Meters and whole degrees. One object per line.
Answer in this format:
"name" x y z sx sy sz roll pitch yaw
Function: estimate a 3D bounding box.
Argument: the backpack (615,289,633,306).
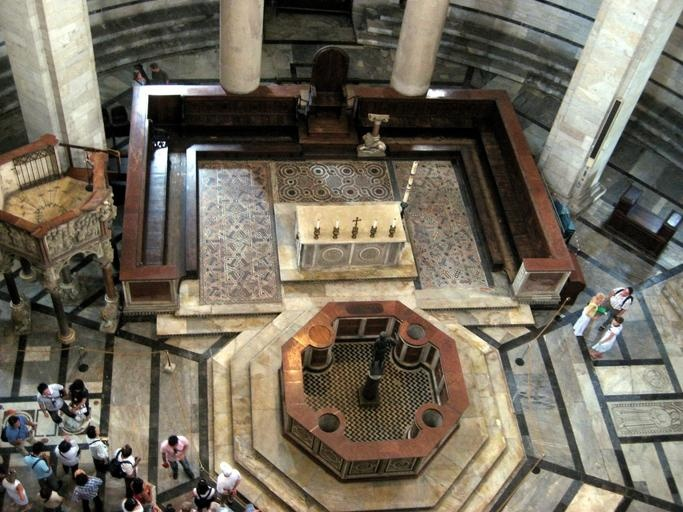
"backpack" 5.917 0.862 10.478 0.153 0.358 0.273 21 10 -46

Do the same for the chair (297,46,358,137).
"chair" -0.411 -4.118 12.771 1.336 1.942 1.440 1 46 -1

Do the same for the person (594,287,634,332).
"person" 5.720 1.148 10.576 0.504 0.875 0.346 -16 70 -14
